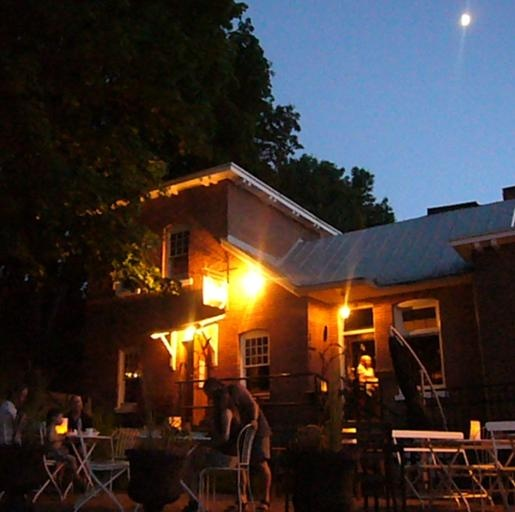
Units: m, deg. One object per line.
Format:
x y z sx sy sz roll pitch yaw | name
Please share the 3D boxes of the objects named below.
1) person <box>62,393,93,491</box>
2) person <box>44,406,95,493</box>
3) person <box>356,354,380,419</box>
-2.934 3.094 10.536 0.420 1.582 0.467 -12 -20 8 | person
-2.944 2.969 9.983 0.549 1.242 0.446 -8 -6 5 | person
2.471 2.897 14.427 0.520 1.571 1.673 0 -17 9 | person
